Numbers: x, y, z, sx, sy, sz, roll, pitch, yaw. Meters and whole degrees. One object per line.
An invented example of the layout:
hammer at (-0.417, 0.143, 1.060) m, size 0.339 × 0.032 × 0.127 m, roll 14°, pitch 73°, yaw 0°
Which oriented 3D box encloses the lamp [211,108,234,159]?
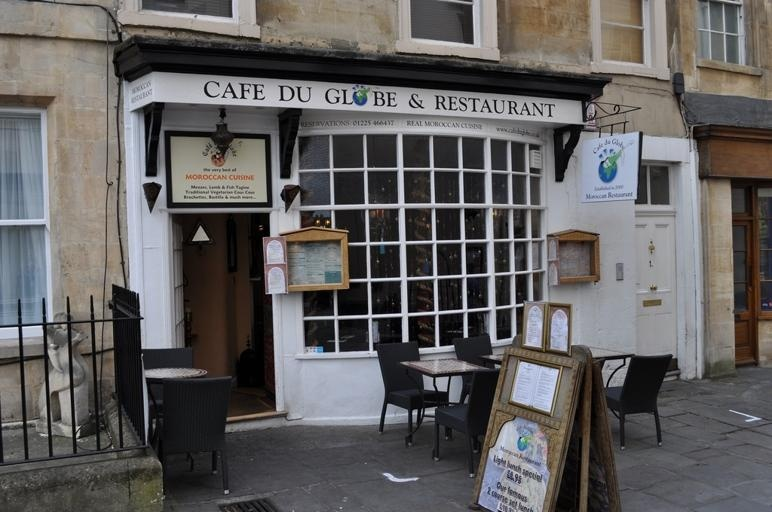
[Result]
lamp at (-2.257, -1.724, 10.430) m, size 0.281 × 0.661 × 0.428 m, roll -1°, pitch 9°, yaw -11°

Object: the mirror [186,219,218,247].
mirror at (-3.041, -0.385, 12.347) m, size 0.455 × 0.491 × 0.115 m, roll 0°, pitch -2°, yaw -15°

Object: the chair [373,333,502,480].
chair at (0.913, 1.861, 10.659) m, size 1.803 × 1.232 × 2.040 m, roll -6°, pitch 11°, yaw -35°

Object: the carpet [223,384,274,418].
carpet at (-2.028, 2.149, 11.141) m, size 0.505 × 0.183 × 0.790 m, roll 1°, pitch -2°, yaw -15°

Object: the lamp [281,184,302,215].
lamp at (-1.356, -0.830, 10.822) m, size 0.328 × 0.389 × 0.167 m, roll -2°, pitch 9°, yaw -17°
